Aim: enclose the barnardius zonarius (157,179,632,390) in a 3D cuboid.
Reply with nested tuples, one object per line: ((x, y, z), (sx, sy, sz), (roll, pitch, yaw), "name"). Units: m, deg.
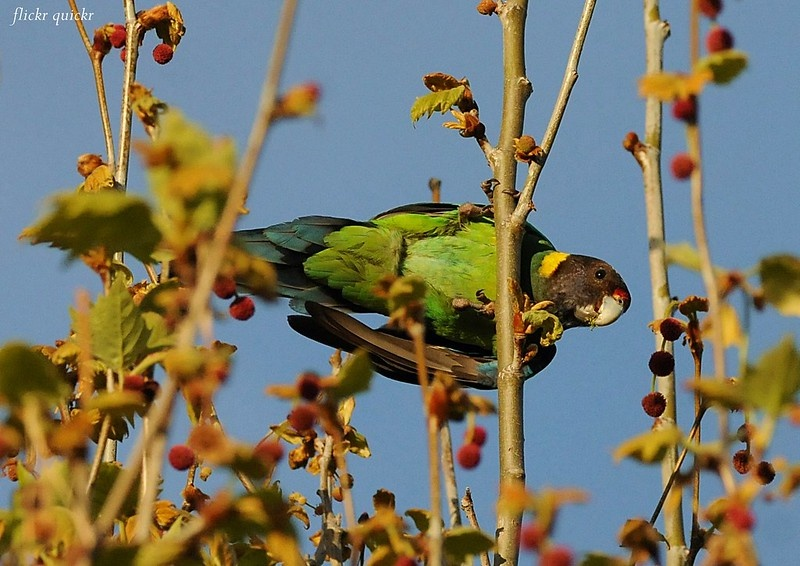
((0.089, 0.065, 8.657), (1.820, 0.853, 0.651), (16, 2, 18), "barnardius zonarius")
